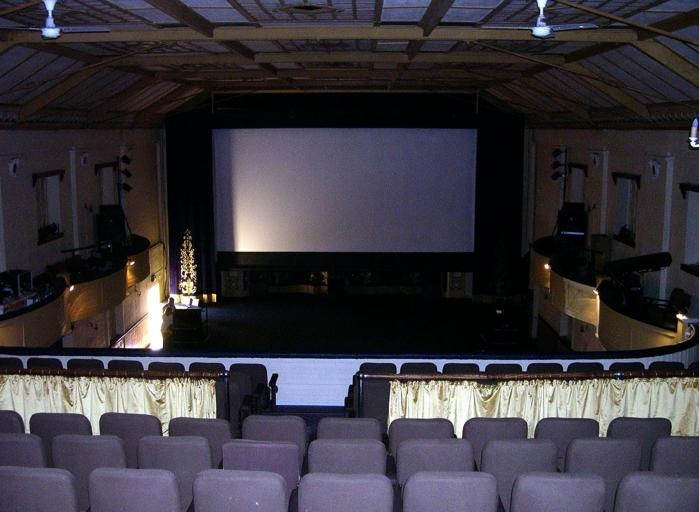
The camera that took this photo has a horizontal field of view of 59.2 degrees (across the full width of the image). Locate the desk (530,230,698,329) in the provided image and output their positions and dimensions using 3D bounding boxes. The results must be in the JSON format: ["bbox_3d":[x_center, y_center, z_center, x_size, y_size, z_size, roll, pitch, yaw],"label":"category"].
[{"bbox_3d":[5.199,0.486,12.926,1.425,1.734,5.801,0,4,2],"label":"desk"}]

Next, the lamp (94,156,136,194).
[{"bbox_3d":[-6.279,-2.224,16.291,0.802,1.272,1.011,6,7,25],"label":"lamp"}]

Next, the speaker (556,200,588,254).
[{"bbox_3d":[5.402,-0.699,14.759,0.661,1.264,0.621,8,18,37],"label":"speaker"}]
